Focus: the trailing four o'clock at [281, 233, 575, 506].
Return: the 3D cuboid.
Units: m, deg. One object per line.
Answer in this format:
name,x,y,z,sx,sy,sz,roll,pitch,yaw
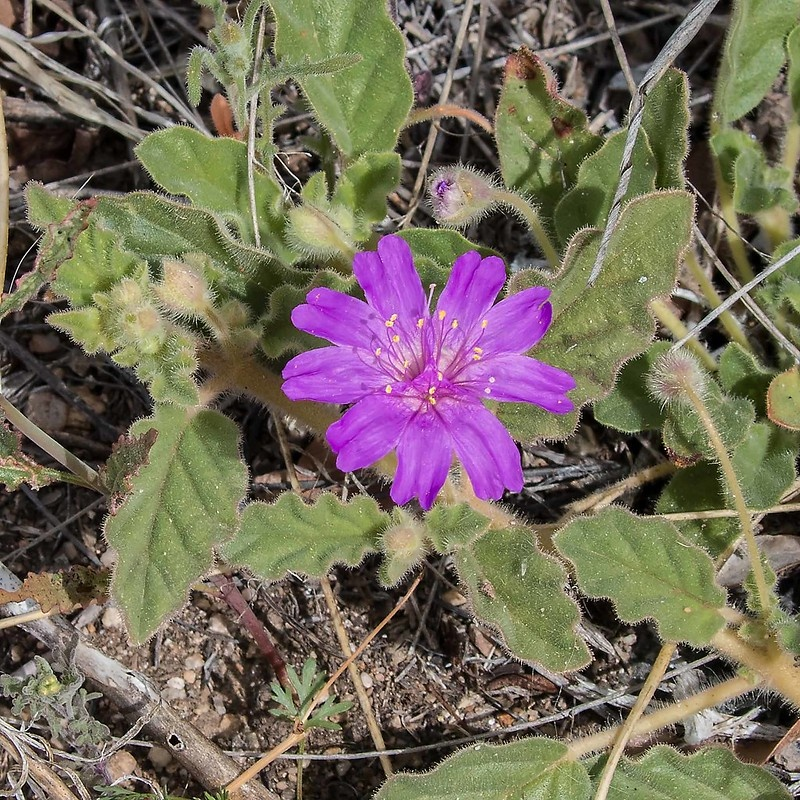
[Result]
trailing four o'clock,0.053,-0.124,1.882,0.555,0.551,0.197,3,64,-14
